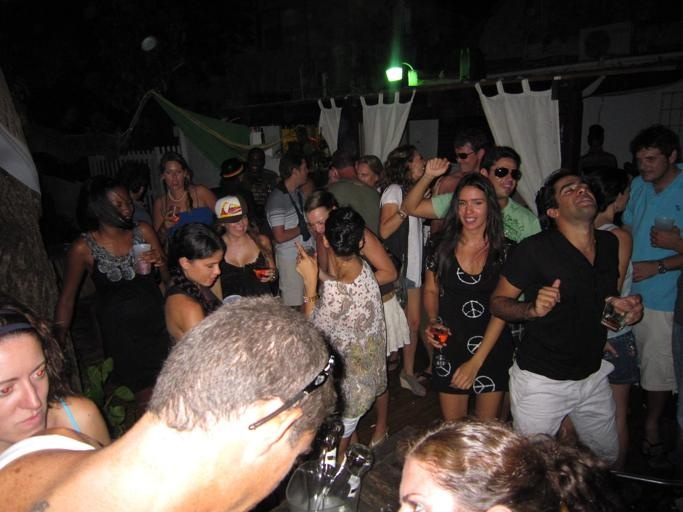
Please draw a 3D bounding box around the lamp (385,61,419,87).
[{"bbox_3d":[0.965,-2.829,7.266,0.480,0.486,0.855,-3,13,9],"label":"lamp"}]

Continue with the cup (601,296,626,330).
[{"bbox_3d":[1.714,0.355,2.934,0.118,0.126,0.179,-1,42,42],"label":"cup"}]

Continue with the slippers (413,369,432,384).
[{"bbox_3d":[0.898,1.317,5.117,0.116,0.119,0.329,3,-3,35],"label":"slippers"}]

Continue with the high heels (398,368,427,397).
[{"bbox_3d":[0.744,1.335,4.924,0.311,0.186,0.166,13,17,39],"label":"high heels"}]

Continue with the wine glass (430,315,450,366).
[{"bbox_3d":[0.734,0.654,3.494,0.121,0.383,0.212,-8,13,-10],"label":"wine glass"}]

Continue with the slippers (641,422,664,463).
[{"bbox_3d":[2.601,1.567,3.897,0.141,0.361,0.087,-5,-6,28],"label":"slippers"}]
